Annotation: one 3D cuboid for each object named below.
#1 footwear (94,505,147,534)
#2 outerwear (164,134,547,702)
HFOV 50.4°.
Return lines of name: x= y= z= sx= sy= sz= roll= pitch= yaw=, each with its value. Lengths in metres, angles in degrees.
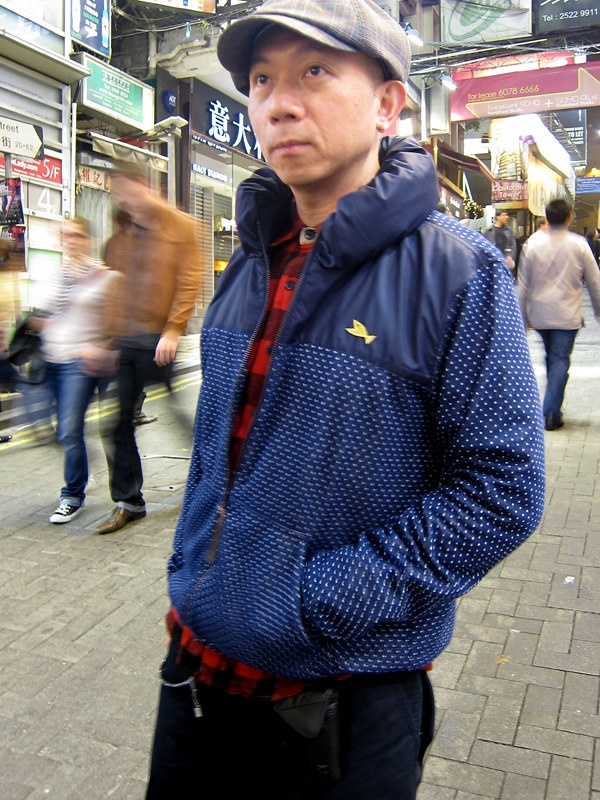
footwear: x=-1.280 y=0.848 z=4.576 sx=0.357 sy=0.142 sz=0.118 roll=-15 pitch=4 yaw=-44
outerwear: x=0.044 y=0.002 z=1.002 sx=0.390 sy=0.829 sz=0.622 roll=-12 pitch=14 yaw=-44
